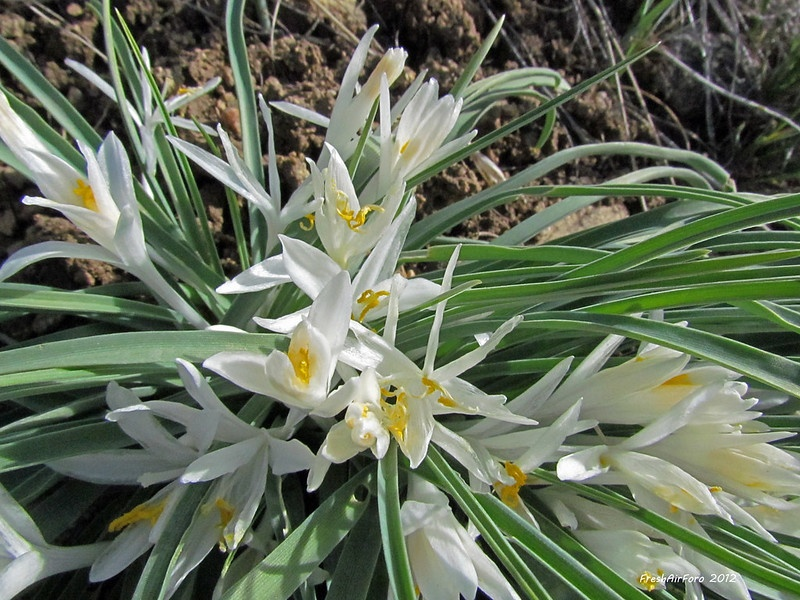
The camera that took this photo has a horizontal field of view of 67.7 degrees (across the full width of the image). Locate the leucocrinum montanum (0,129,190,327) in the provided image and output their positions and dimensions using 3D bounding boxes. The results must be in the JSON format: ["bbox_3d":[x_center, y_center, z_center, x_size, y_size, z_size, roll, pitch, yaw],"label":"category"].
[{"bbox_3d":[-0.579,-0.181,1.187,0.418,0.198,0.200,49,45,3],"label":"leucocrinum montanum"}]
